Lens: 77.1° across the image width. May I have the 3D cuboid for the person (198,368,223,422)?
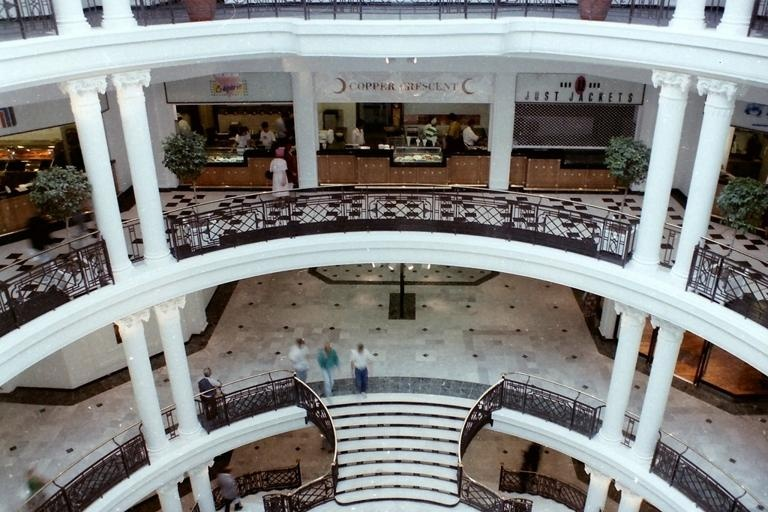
[{"bbox_3d":[-4.757,3.846,13.216,0.604,0.514,1.539,1,-78,3],"label":"person"}]

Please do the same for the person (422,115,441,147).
[{"bbox_3d":[1.808,-4.745,18.686,1.043,1.172,0.662,1,-39,-4],"label":"person"}]

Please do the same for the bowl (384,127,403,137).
[{"bbox_3d":[0.403,-5.093,19.372,0.872,0.533,0.382,-1,-93,2],"label":"bowl"}]
